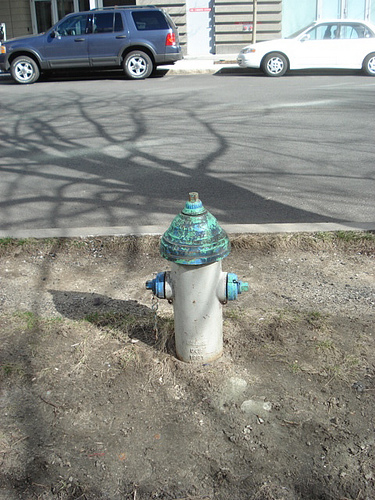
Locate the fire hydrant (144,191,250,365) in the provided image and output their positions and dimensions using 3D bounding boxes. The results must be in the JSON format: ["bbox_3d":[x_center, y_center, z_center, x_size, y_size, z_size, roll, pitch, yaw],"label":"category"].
[{"bbox_3d":[0.049,0.167,2.427,0.548,1.020,0.454,-4,22,-8],"label":"fire hydrant"}]

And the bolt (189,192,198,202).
[{"bbox_3d":[0.035,-0.266,2.199,0.047,0.048,0.044,0,23,3],"label":"bolt"}]

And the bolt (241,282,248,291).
[{"bbox_3d":[0.316,0.202,2.377,0.044,0.039,0.010,-1,-5,-27],"label":"bolt"}]

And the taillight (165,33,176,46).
[{"bbox_3d":[-0.589,-7.238,15.038,0.342,0.387,0.400,4,47,1],"label":"taillight"}]

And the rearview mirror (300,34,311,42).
[{"bbox_3d":[4.228,-7.522,15.493,0.378,0.257,0.103,-6,22,-15],"label":"rearview mirror"}]

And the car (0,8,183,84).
[{"bbox_3d":[-3.399,-7.392,15.848,5.985,2.136,2.643,3,24,2],"label":"car"}]

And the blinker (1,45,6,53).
[{"bbox_3d":[-6.406,-6.962,15.145,0.164,0.211,0.206,4,19,2],"label":"blinker"}]

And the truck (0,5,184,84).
[{"bbox_3d":[-3.426,-7.505,15.912,6.058,2.289,2.669,2,22,2],"label":"truck"}]
